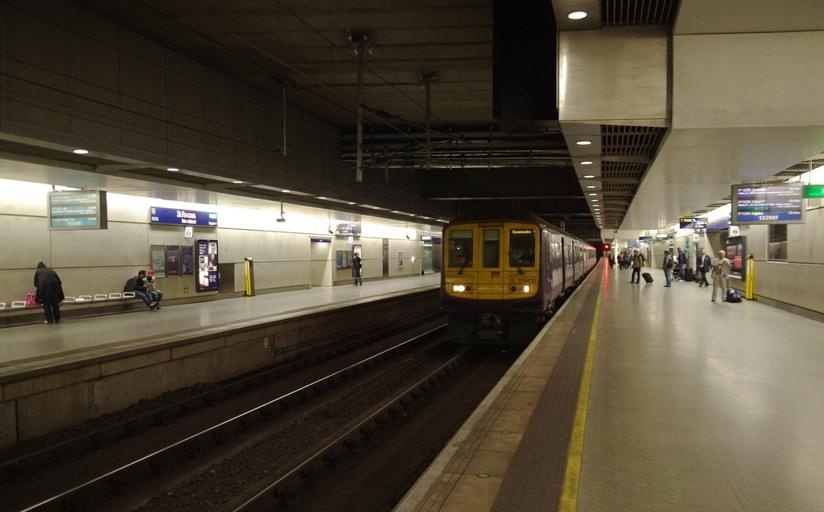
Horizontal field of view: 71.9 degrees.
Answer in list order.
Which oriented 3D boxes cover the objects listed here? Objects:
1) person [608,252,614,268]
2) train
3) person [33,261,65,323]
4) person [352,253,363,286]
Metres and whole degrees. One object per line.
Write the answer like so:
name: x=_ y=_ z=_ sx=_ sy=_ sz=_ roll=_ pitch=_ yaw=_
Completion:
person: x=19.648 y=0.462 z=56.047 sx=0.466 sy=0.667 sz=1.574 roll=5 pitch=10 yaw=21
train: x=3.398 y=0.342 z=16.449 sx=2.349 sy=3.541 sz=5.608 roll=9 pitch=17 yaw=39
person: x=-9.455 y=1.014 z=14.743 sx=0.661 sy=1.684 sz=0.576 roll=11 pitch=19 yaw=44
person: x=-2.709 y=0.682 z=27.769 sx=0.390 sy=1.661 sz=0.738 roll=-4 pitch=13 yaw=-8
